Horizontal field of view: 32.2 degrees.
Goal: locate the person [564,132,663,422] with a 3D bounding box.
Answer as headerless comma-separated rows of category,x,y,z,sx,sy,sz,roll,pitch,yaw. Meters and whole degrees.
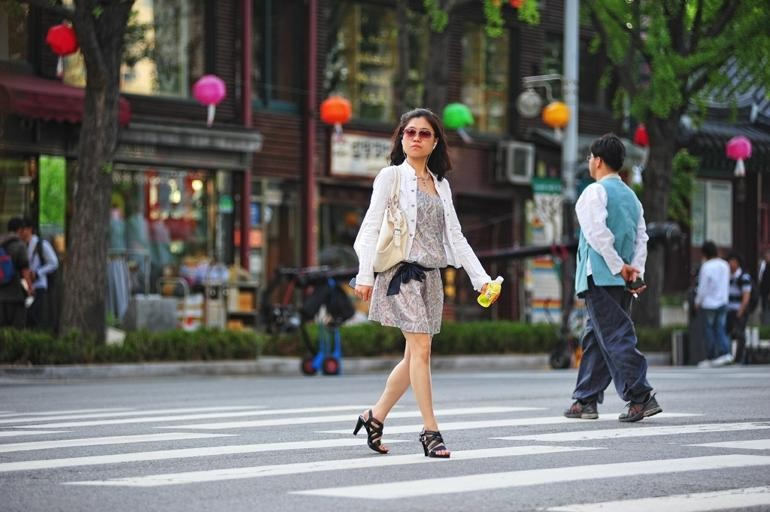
person,2.377,0.211,14.010,0.858,3.064,0.532,-1,-2,10

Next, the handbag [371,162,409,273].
handbag,0.063,-0.329,12.193,0.275,0.964,0.193,1,-2,-38

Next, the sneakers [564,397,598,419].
sneakers,2.078,1.638,14.169,0.368,0.207,0.160,1,0,41

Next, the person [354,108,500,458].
person,0.290,0.219,12.450,1.124,3.306,0.824,0,-2,4

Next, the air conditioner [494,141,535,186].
air conditioner,2.855,-2.065,29.741,0.534,1.048,0.940,-5,-6,43

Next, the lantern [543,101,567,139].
lantern,3.328,-2.645,25.976,0.466,0.724,0.478,4,-7,-27

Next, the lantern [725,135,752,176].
lantern,3.878,-1.089,14.602,0.273,0.450,0.151,-1,-2,17

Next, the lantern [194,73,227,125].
lantern,-1.928,-1.708,14.656,0.333,0.523,0.640,0,-2,-14

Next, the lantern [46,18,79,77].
lantern,-3.747,-2.439,15.641,0.360,0.668,0.422,3,9,-7

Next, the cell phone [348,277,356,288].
cell phone,-0.282,0.250,12.252,0.021,0.085,0.086,14,-7,-11

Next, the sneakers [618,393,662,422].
sneakers,2.642,1.584,13.853,0.439,0.313,0.284,-1,-2,16

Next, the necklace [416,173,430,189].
necklace,0.361,-0.704,12.445,0.031,0.136,0.125,2,-6,-31

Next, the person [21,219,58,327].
person,-4.710,0.202,18.253,0.454,1.551,2.058,0,-2,-16
